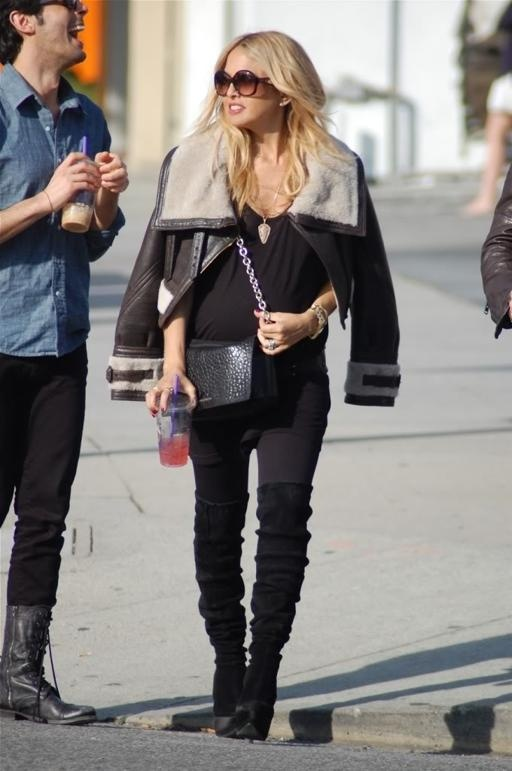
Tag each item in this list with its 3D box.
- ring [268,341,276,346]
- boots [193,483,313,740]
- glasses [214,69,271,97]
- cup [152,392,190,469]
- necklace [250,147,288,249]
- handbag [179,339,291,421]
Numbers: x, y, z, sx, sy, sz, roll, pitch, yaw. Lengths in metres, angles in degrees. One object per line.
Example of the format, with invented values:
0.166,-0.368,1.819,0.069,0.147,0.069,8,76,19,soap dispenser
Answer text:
0.043,-0.115,3.546,0.021,0.022,0.005,0,14,-1,ring
0.006,0.654,3.599,0.326,0.733,0.487,-1,13,-4,boots
-0.055,-0.876,3.636,0.109,0.043,0.107,4,3,32,glasses
-0.235,0.134,3.645,0.095,0.237,0.144,-1,13,-3,cup
0.038,-0.550,3.670,0.104,0.259,0.186,0,13,0,necklace
-0.071,-0.027,3.681,0.157,0.191,0.291,9,-9,-40,handbag
